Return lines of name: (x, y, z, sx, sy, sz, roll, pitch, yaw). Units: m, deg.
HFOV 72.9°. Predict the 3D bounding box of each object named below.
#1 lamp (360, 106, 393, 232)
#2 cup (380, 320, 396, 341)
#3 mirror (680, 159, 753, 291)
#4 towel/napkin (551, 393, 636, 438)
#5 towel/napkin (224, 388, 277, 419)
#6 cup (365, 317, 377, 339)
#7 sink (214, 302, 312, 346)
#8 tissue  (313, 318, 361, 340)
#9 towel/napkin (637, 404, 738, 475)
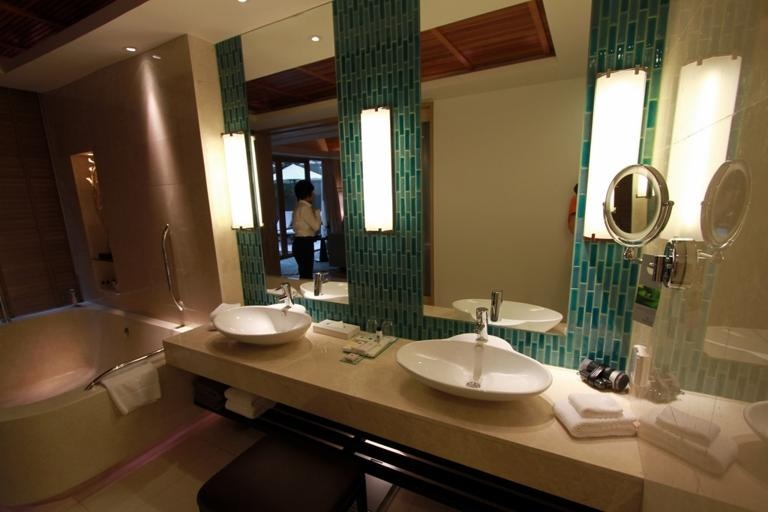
lamp: (-0.046, -0.548, 3.396, 0.207, 0.803, 0.065, 0, 9, 19)
cup: (0.012, 0.507, 3.515, 0.123, 0.123, 0.110, 0, 9, 19)
mirror: (1.505, -0.170, 2.286, 0.088, 0.425, 0.286, 13, 22, -15)
towel/napkin: (1.130, 0.815, 2.787, 0.261, 0.119, 0.275, -1, 2, -1)
towel/napkin: (-0.955, 1.034, 3.638, 0.342, 0.204, 0.148, 0, 9, 17)
cup: (-0.079, 0.490, 3.552, 0.087, 0.109, 0.172, -3, 8, -6)
sink: (-0.863, 0.492, 3.578, 0.801, 0.206, 0.490, 2, 9, 30)
tissue : (-0.346, 0.513, 3.668, 0.343, 0.092, 0.152, 2, 9, 34)
towel/napkin: (1.404, 0.843, 2.399, 0.210, 0.204, 0.403, -9, 12, -31)
